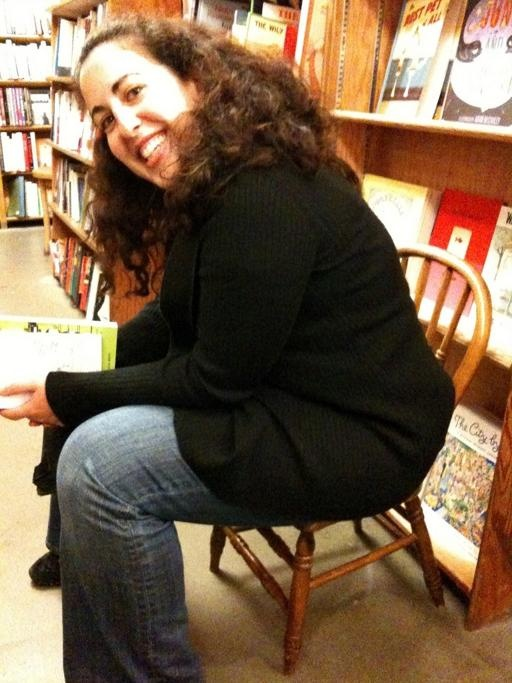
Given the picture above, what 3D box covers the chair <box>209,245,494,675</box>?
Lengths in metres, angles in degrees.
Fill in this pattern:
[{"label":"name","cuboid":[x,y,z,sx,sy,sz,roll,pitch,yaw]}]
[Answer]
[{"label":"chair","cuboid":[0.180,0.211,1.127,0.494,0.748,0.459,-9,18,-27]}]
